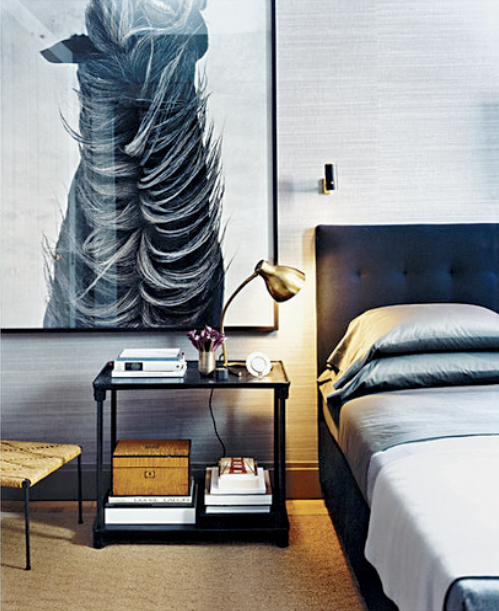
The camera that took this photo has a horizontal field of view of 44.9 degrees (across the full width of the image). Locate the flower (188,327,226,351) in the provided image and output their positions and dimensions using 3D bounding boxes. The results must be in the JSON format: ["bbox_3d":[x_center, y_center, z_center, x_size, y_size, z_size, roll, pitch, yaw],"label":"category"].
[{"bbox_3d":[-0.160,0.133,2.375,0.097,0.079,0.107,1,-6,3],"label":"flower"}]

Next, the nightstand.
[{"bbox_3d":[-0.387,0.520,2.540,0.434,0.578,0.695,0,9,-6],"label":"nightstand"}]

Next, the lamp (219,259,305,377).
[{"bbox_3d":[0.044,0.038,2.440,0.311,0.442,0.378,0,7,-3],"label":"lamp"}]

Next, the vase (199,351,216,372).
[{"bbox_3d":[-0.155,0.220,2.349,0.068,0.098,0.071,1,-4,1],"label":"vase"}]

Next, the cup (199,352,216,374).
[{"bbox_3d":[-0.160,0.220,2.326,0.071,0.101,0.074,1,-4,0],"label":"cup"}]

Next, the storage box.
[{"bbox_3d":[-0.362,0.616,2.321,0.234,0.139,0.177,1,1,-1],"label":"storage box"}]

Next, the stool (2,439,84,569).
[{"bbox_3d":[-0.805,0.710,2.246,0.319,0.245,0.365,1,-2,10],"label":"stool"}]

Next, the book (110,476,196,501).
[{"bbox_3d":[-0.363,0.707,2.261,0.312,0.044,0.097,-1,7,-10],"label":"book"}]

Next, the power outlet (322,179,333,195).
[{"bbox_3d":[0.337,-0.501,2.566,0.045,0.065,0.111,1,7,5],"label":"power outlet"}]
